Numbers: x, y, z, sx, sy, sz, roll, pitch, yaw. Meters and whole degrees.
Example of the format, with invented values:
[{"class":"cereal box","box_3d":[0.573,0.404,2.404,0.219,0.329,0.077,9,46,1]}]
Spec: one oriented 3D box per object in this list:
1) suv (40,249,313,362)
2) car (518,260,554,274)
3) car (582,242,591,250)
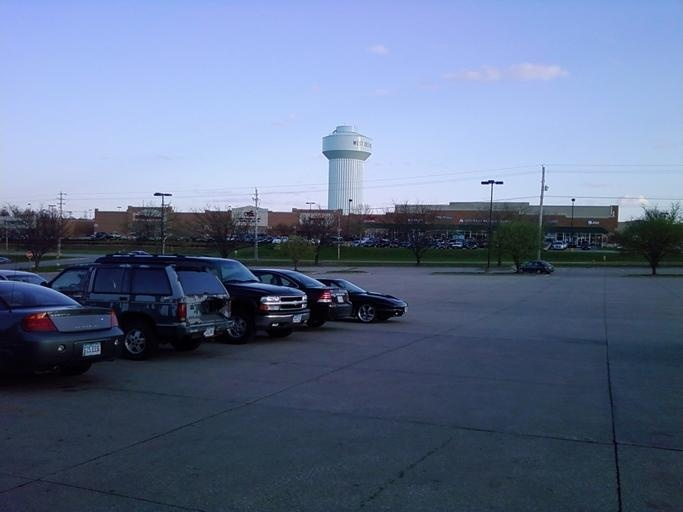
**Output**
[{"class":"suv","box_3d":[-3.521,0.904,13.162,4.359,1.260,2.580,5,4,32]},{"class":"car","box_3d":[17.627,0.972,56.442,2.249,1.062,3.470,0,3,-12]},{"class":"car","box_3d":[41.701,-1.651,106.611,1.561,1.155,2.383,1,12,19]}]
